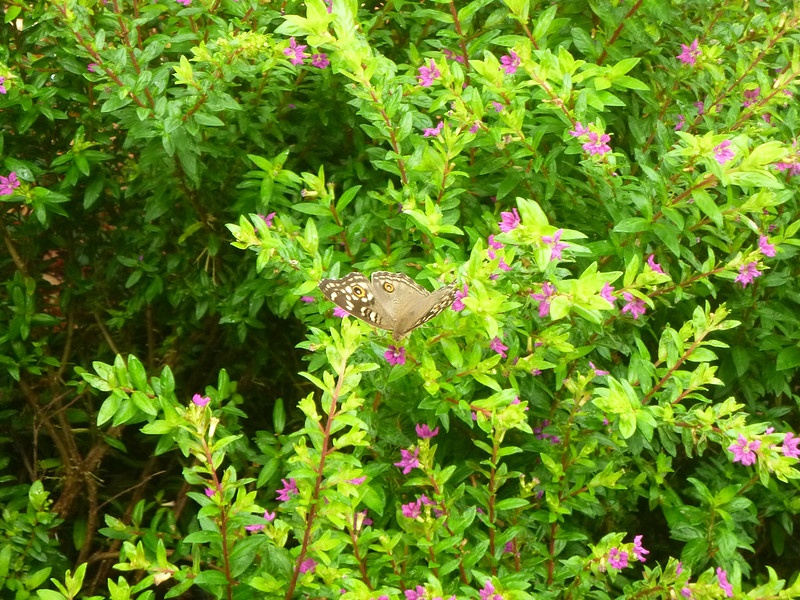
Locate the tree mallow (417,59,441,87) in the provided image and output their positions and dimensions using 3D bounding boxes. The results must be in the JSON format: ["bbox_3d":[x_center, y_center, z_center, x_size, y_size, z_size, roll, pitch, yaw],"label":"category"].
[{"bbox_3d":[0.108,-0.923,3.384,0.118,0.106,0.053,12,8,-1],"label":"tree mallow"}]

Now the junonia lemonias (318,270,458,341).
[{"bbox_3d":[-0.008,0.015,3.004,0.506,0.245,0.228,5,-19,38],"label":"junonia lemonias"}]

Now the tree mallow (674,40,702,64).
[{"bbox_3d":[1.264,-1.072,3.596,0.108,0.104,0.031,-4,-9,41],"label":"tree mallow"}]

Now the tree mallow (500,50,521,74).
[{"bbox_3d":[0.437,-0.938,3.257,0.033,0.105,0.107,-1,5,-43],"label":"tree mallow"}]

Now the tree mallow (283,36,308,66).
[{"bbox_3d":[-0.458,-1.041,3.490,0.119,0.108,0.043,25,-26,-26],"label":"tree mallow"}]
